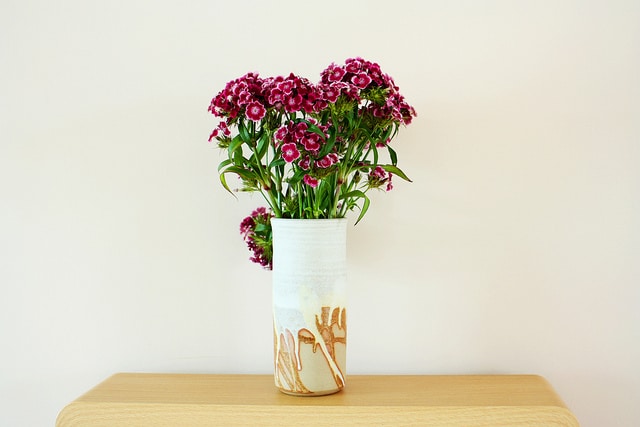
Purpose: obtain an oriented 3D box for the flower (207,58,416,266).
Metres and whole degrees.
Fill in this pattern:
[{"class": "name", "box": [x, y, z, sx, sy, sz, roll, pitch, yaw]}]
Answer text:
[{"class": "flower", "box": [-0.029, -0.192, 2.039, 0.593, 0.681, 0.570, -1, 5, -37]}]
